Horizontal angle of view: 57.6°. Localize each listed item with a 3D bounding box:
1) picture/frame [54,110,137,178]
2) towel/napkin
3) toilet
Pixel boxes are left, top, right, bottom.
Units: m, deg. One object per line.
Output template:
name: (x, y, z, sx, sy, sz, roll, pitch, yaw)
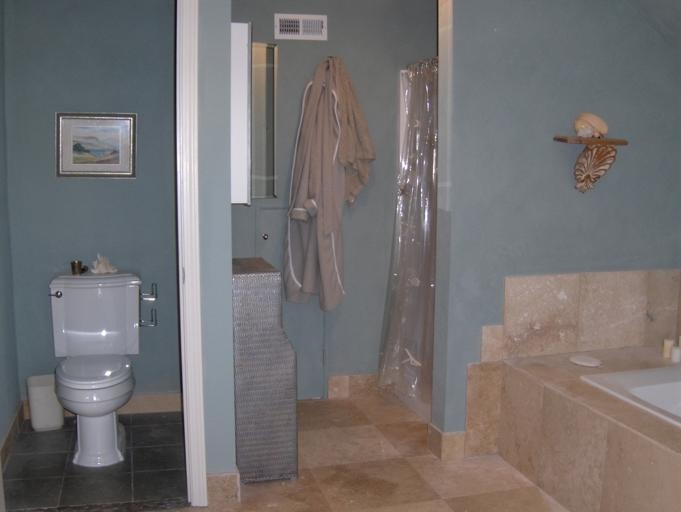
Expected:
picture/frame: (-1.653, -0.753, 4.121, 0.400, 0.390, 0.038, -1, 7, -10)
towel/napkin: (0.062, -0.857, 4.255, 0.264, 0.959, 0.275, -7, 15, -25)
toilet: (-1.550, 0.628, 3.936, 0.649, 1.219, 1.060, 0, 2, -14)
